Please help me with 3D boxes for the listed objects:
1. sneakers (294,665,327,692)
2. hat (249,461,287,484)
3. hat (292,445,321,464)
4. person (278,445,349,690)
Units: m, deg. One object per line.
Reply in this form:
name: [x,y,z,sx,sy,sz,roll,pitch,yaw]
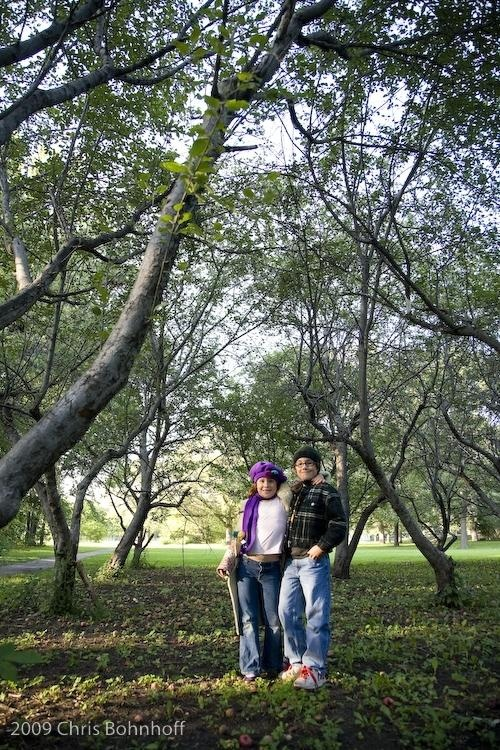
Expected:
sneakers: [0.436,2.290,3.802,0.103,0.111,0.256,-15,-36,20]
hat: [0.170,0.860,4.541,0.263,0.126,0.230,0,-9,-8]
hat: [0.487,0.701,4.441,0.184,0.136,0.183,1,-43,28]
person: [0.501,1.532,4.164,0.483,1.839,0.633,4,-8,-10]
